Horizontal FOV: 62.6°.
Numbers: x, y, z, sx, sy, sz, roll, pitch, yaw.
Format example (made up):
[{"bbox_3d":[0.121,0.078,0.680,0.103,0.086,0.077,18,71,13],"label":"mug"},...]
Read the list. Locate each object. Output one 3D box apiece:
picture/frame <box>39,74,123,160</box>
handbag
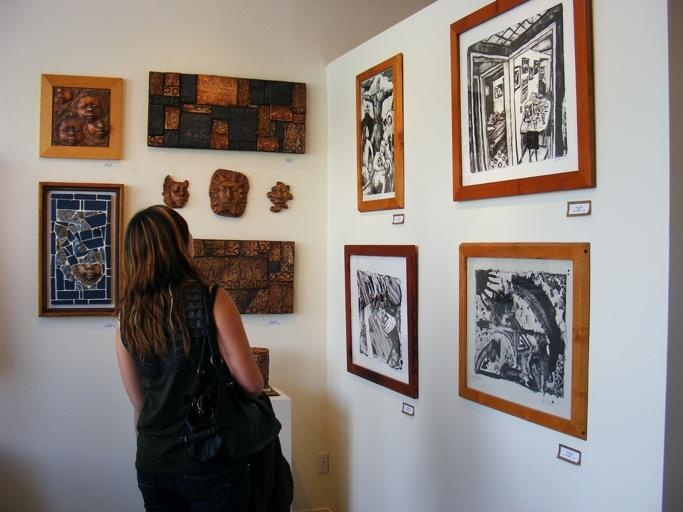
[{"bbox_3d":[-1.692,-0.889,3.610,0.505,0.602,0.024,1,-2,-15],"label":"picture/frame"},{"bbox_3d":[-0.459,0.601,2.398,0.232,0.523,0.487,-12,-11,21],"label":"handbag"}]
